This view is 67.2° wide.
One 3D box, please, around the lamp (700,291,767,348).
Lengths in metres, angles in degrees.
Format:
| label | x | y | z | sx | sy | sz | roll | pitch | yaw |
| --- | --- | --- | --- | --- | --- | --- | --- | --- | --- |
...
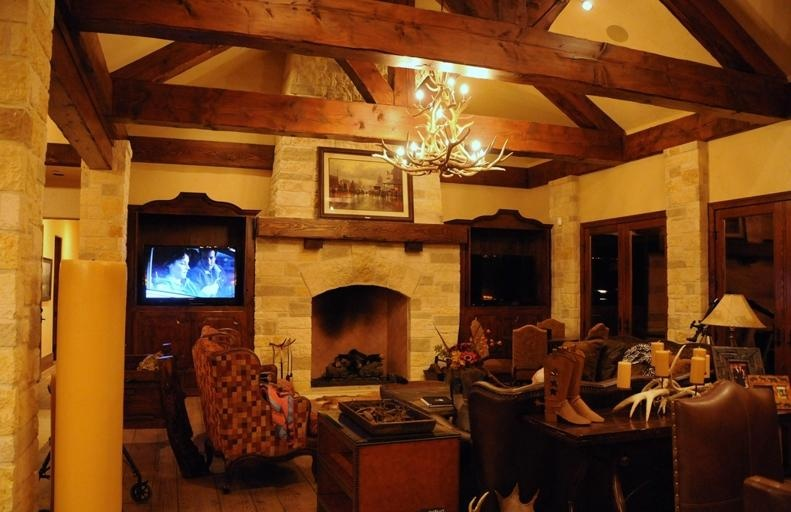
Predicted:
| label | x | y | z | sx | sy | sz | roll | pitch | yaw |
| --- | --- | --- | --- | --- | --- | --- | --- | --- | --- |
| lamp | 3.434 | 0.564 | 6.116 | 0.687 | 0.637 | 0.583 | 0 | 2 | 30 |

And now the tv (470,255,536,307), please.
| label | x | y | z | sx | sy | sz | roll | pitch | yaw |
| --- | --- | --- | --- | --- | --- | --- | --- | --- | --- |
| tv | 1.733 | 0.441 | 9.801 | 0.919 | 0.585 | 0.037 | 1 | -4 | -14 |

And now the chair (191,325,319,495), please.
| label | x | y | z | sx | sy | sz | roll | pitch | yaw |
| --- | --- | --- | --- | --- | --- | --- | --- | --- | --- |
| chair | -1.310 | 1.412 | 5.537 | 1.039 | 1.359 | 0.883 | 2 | -6 | -20 |

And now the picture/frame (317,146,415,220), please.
| label | x | y | z | sx | sy | sz | roll | pitch | yaw |
| --- | --- | --- | --- | --- | --- | --- | --- | --- | --- |
| picture/frame | -0.479 | -0.999 | 8.134 | 1.172 | 0.740 | 0.095 | 3 | -9 | -22 |

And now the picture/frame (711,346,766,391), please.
| label | x | y | z | sx | sy | sz | roll | pitch | yaw |
| --- | --- | --- | --- | --- | --- | --- | --- | --- | --- |
| picture/frame | 2.724 | 0.902 | 4.742 | 0.364 | 0.332 | 0.026 | 4 | -17 | 8 |

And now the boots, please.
| label | x | y | z | sx | sy | sz | roll | pitch | yaw |
| --- | --- | --- | --- | --- | --- | --- | --- | --- | --- |
| boots | 1.163 | 0.911 | 4.187 | 0.567 | 0.619 | 0.427 | -1 | -4 | 20 |
